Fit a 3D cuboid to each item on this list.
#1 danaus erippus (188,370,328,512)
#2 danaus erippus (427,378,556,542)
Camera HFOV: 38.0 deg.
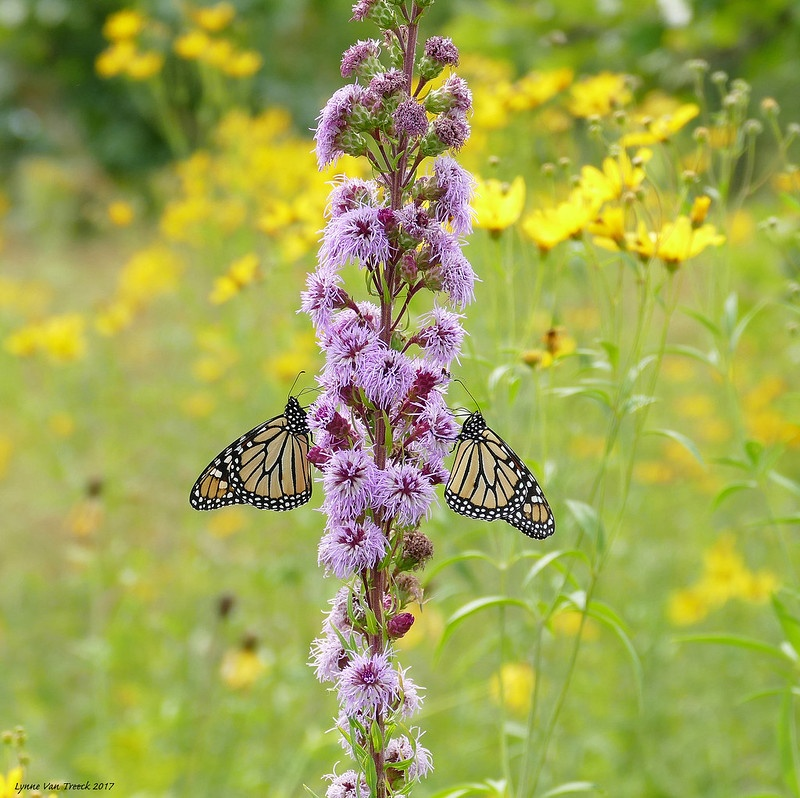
[{"bbox_3d":[-0.363,0.140,2.832,0.293,0.251,0.225,3,70,2],"label":"danaus erippus"},{"bbox_3d":[0.199,0.080,2.754,0.217,0.527,0.279,-15,44,4],"label":"danaus erippus"}]
